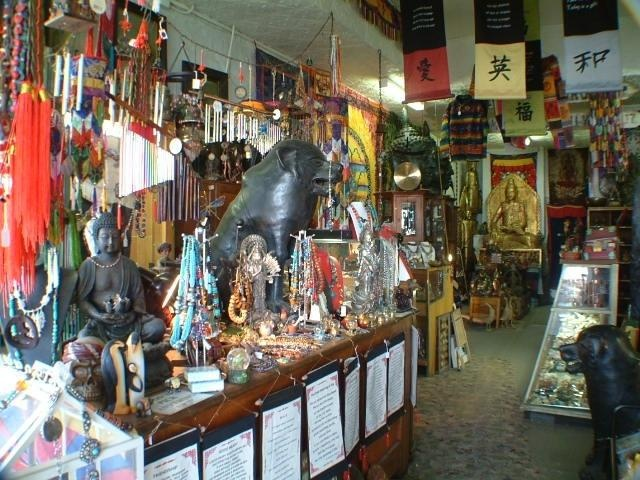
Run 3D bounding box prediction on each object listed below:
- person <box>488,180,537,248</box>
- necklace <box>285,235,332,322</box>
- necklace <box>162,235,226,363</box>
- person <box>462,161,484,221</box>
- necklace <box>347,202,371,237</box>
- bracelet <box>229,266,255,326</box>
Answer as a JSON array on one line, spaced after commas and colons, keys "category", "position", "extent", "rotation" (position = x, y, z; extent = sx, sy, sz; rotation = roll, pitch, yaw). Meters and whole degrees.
[{"category": "person", "position": [4.686, -0.741, 13.440], "extent": [1.262, 2.057, 0.898], "rotation": [0, -7, 21]}, {"category": "necklace", "position": [-0.056, 0.187, 2.783], "extent": [0.193, 0.460, 0.158], "rotation": [0, 5, -1]}, {"category": "necklace", "position": [-0.501, 0.224, 2.170], "extent": [0.207, 0.540, 0.296], "rotation": [-1, 5, -13]}, {"category": "person", "position": [3.306, -1.088, 12.129], "extent": [0.421, 1.236, 0.938], "rotation": [2, 5, 14]}, {"category": "necklace", "position": [0.209, -0.126, 3.152], "extent": [0.041, 0.190, 0.133], "rotation": [-14, -39, 0]}, {"category": "bracelet", "position": [-0.371, 0.265, 2.570], "extent": [0.116, 0.275, 0.116], "rotation": [-1, 5, -11]}]
